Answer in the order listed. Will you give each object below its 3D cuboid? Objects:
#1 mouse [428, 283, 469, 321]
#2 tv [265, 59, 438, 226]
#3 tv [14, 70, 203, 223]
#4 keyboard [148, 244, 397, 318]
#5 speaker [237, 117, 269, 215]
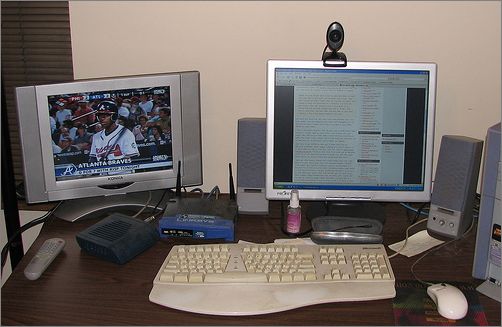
[{"bbox_3d":[0.633,0.433,1.430,0.077,0.037,0.118,-5,30,-3],"label":"mouse"},{"bbox_3d":[0.385,-0.100,1.754,0.702,0.618,0.244,1,8,1],"label":"tv"},{"bbox_3d":[-0.561,-0.062,1.831,0.641,0.533,0.111,-2,15,-5],"label":"tv"},{"bbox_3d":[0.091,0.380,1.563,0.818,0.074,0.349,-2,27,1],"label":"keyboard"},{"bbox_3d":[-0.017,0.011,1.862,0.151,0.352,0.150,-2,21,-6],"label":"speaker"}]
